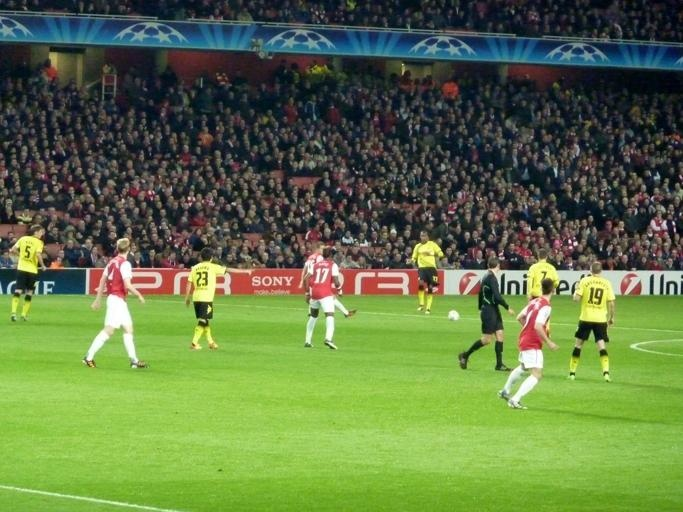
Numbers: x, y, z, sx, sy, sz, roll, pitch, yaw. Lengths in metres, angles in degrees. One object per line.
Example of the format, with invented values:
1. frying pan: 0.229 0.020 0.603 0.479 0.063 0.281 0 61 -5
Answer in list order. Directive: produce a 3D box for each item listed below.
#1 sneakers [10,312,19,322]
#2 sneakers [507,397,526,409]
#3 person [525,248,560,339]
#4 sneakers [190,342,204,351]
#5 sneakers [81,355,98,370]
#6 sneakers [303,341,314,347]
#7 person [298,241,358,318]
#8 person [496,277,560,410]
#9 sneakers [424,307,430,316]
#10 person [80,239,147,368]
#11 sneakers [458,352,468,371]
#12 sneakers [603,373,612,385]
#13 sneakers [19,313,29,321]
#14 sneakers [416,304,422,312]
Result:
1. sneakers: -8.610 1.595 30.815 0.155 0.307 0.281 1 2 -4
2. sneakers: 3.290 2.767 22.183 0.403 0.202 0.150 4 7 7
3. person: 4.878 0.844 28.746 0.714 2.260 0.658 0 17 -5
4. sneakers: -3.343 2.069 27.124 0.221 0.250 0.125 1 11 -6
5. sneakers: -5.250 2.241 24.579 0.165 0.156 0.361 32 -6 43
6. sneakers: -0.775 2.086 27.811 0.211 0.174 0.076 0 5 -6
7. person: -0.289 0.723 28.212 1.478 2.403 0.632 -14 32 -27
8. person: 3.570 1.622 22.227 0.974 2.442 1.485 2 6 8
9. sneakers: 2.606 1.676 35.531 0.185 0.209 0.122 1 5 19
10. person: -4.603 0.987 24.284 1.203 2.751 0.752 3 7 22
11. sneakers: 2.651 2.238 25.450 0.179 0.430 0.144 0 12 18
12. sneakers: 5.588 2.559 24.627 0.101 0.127 0.275 -7 -22 5
13. sneakers: -8.420 1.642 31.223 0.118 0.224 0.210 -6 28 -6
14. sneakers: 2.377 1.572 35.873 0.100 0.189 0.178 3 2 17
